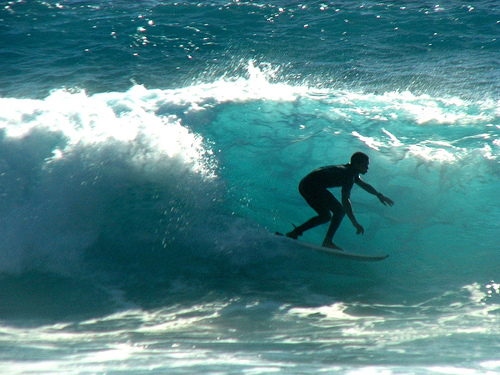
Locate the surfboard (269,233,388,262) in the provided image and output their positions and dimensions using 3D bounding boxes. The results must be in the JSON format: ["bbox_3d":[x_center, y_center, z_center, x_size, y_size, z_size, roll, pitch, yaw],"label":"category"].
[{"bbox_3d":[1.871,1.428,12.837,3.111,0.144,0.252,10,20,12],"label":"surfboard"}]
